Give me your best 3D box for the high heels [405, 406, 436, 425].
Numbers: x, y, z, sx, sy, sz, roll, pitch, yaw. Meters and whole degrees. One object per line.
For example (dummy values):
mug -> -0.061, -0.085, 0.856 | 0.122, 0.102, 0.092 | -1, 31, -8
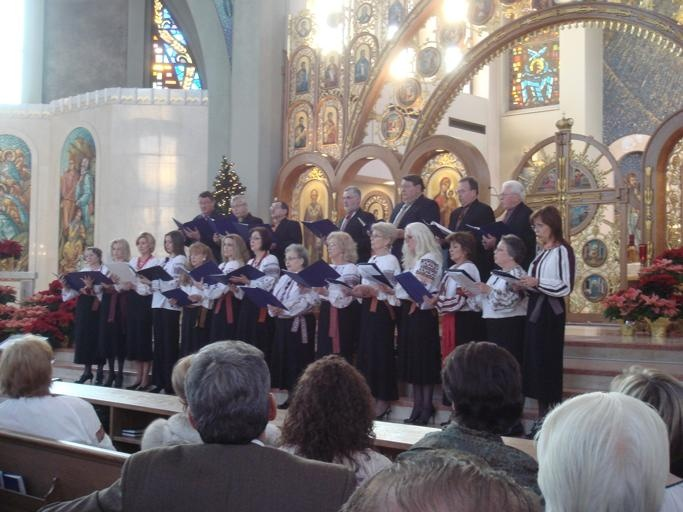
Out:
high heels -> 0.692, 1.390, 6.470 | 0.147, 0.128, 0.265 | -7, -12, 40

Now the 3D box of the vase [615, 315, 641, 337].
vase -> 2.993, 0.730, 7.705 | 0.222, 0.168, 0.222 | -1, -3, 9

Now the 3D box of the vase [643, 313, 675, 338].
vase -> 3.217, 0.712, 7.479 | 0.277, 0.183, 0.238 | 7, -8, -40
